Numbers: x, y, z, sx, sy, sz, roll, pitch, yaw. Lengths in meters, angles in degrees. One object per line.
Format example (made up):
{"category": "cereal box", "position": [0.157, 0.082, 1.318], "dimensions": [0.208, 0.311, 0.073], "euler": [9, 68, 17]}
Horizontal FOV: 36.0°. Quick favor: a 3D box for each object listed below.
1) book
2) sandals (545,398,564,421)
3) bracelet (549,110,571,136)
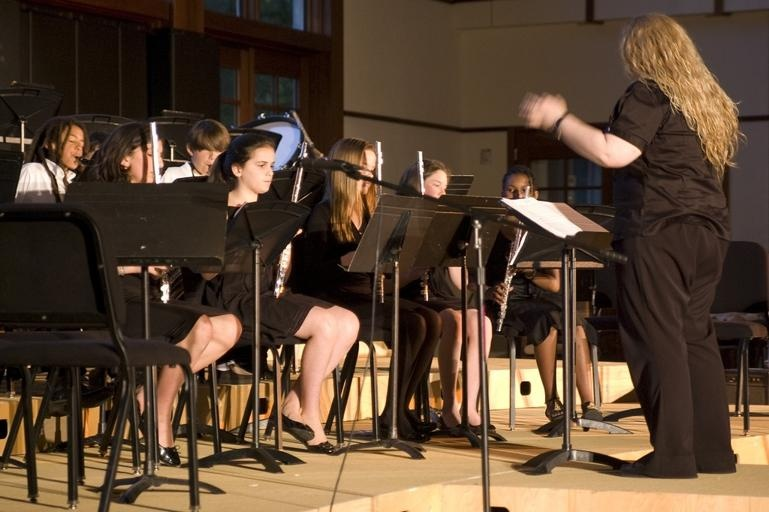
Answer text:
{"category": "book", "position": [0.818, -0.177, 5.624], "dimensions": [0.307, 0.098, 0.284], "euler": [9, 20, -44]}
{"category": "sandals", "position": [0.999, 0.901, 6.985], "dimensions": [0.096, 0.075, 0.193], "euler": [-2, -14, 4]}
{"category": "bracelet", "position": [0.807, -0.618, 5.538], "dimensions": [0.079, 0.110, 0.044], "euler": [-3, -5, 39]}
